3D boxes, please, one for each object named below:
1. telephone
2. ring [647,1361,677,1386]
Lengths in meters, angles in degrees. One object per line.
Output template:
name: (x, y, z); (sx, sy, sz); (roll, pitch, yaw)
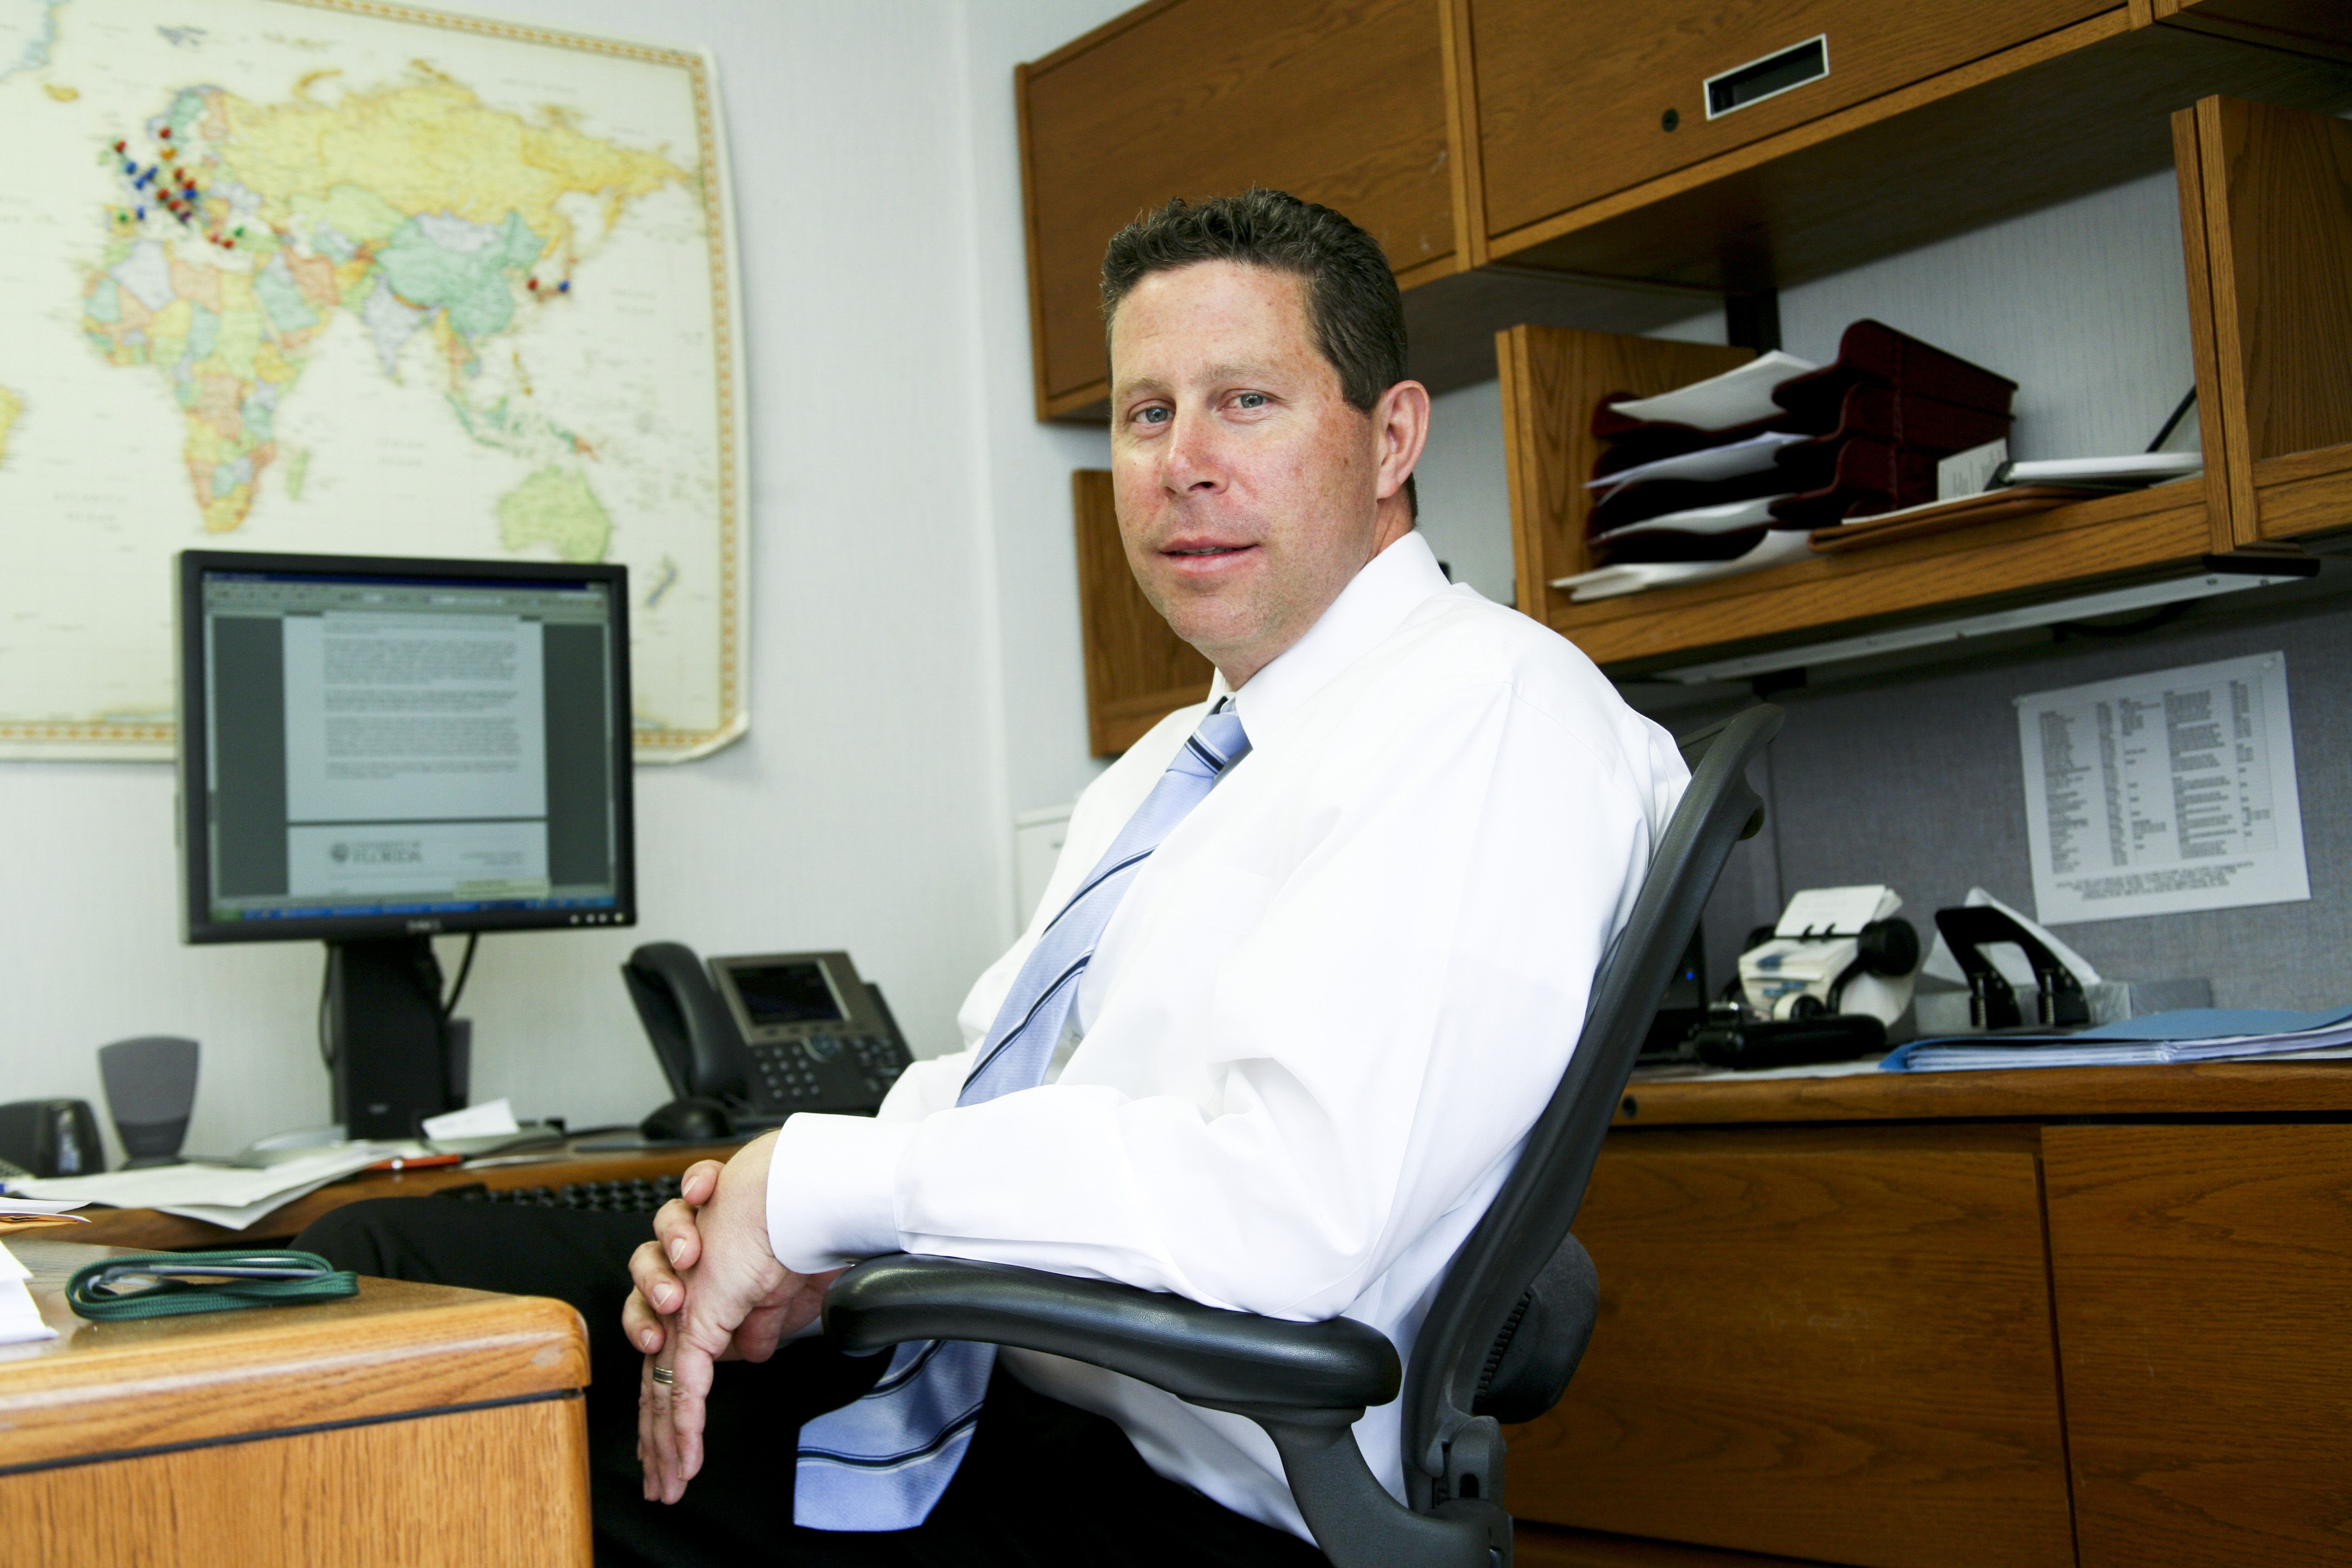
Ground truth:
telephone: (-0.519, 0.328, 2.481); (0.298, 0.192, 0.380); (12, 11, 37)
ring: (-0.383, 0.438, 1.385); (0.020, 0.016, 0.005); (-3, -17, 40)
